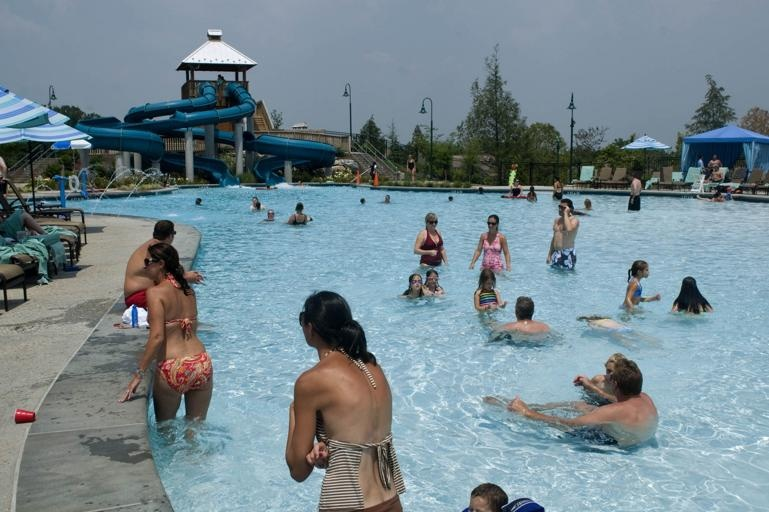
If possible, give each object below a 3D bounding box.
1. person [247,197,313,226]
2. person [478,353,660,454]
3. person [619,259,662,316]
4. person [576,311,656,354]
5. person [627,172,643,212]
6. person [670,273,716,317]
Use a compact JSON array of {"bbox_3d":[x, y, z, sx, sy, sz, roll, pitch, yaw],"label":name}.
[{"bbox_3d":[-3.175,-1.456,20.165,1.608,0.759,1.119,6,9,41],"label":"person"},{"bbox_3d":[2.293,1.488,7.024,1.684,0.860,0.908,10,17,44],"label":"person"},{"bbox_3d":[4.855,0.616,11.145,0.522,1.042,0.408,-10,33,11],"label":"person"},{"bbox_3d":[3.743,1.159,9.289,0.721,0.286,1.268,-2,8,-24],"label":"person"},{"bbox_3d":[10.229,-2.618,23.954,0.438,1.538,1.987,5,8,22],"label":"person"},{"bbox_3d":[5.261,0.674,10.162,0.799,0.566,0.390,-2,11,3],"label":"person"}]
